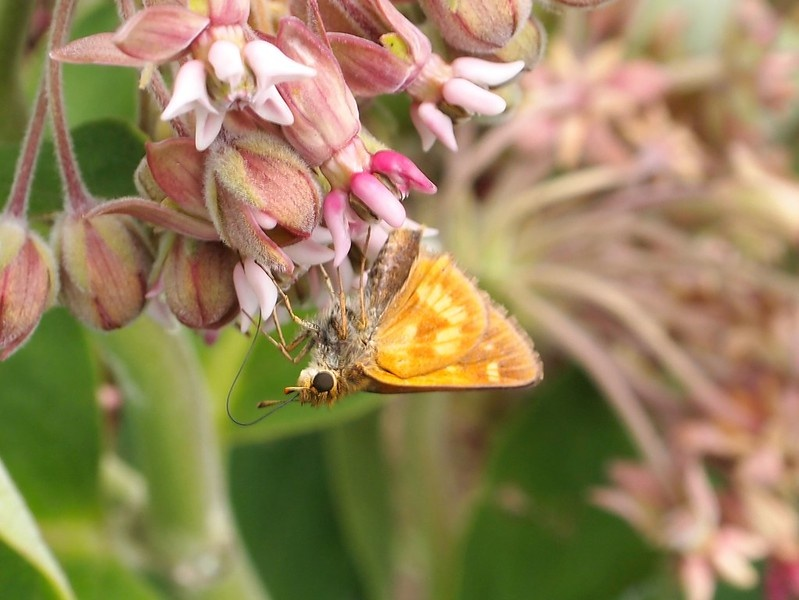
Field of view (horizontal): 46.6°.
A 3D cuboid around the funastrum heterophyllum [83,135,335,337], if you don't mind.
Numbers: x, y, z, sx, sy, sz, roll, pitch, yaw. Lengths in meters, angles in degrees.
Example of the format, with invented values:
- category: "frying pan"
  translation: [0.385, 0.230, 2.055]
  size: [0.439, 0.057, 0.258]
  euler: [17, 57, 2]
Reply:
- category: "funastrum heterophyllum"
  translation: [-0.165, -0.078, 0.881]
  size: [0.176, 0.200, 0.091]
  euler: [20, 43, 13]
